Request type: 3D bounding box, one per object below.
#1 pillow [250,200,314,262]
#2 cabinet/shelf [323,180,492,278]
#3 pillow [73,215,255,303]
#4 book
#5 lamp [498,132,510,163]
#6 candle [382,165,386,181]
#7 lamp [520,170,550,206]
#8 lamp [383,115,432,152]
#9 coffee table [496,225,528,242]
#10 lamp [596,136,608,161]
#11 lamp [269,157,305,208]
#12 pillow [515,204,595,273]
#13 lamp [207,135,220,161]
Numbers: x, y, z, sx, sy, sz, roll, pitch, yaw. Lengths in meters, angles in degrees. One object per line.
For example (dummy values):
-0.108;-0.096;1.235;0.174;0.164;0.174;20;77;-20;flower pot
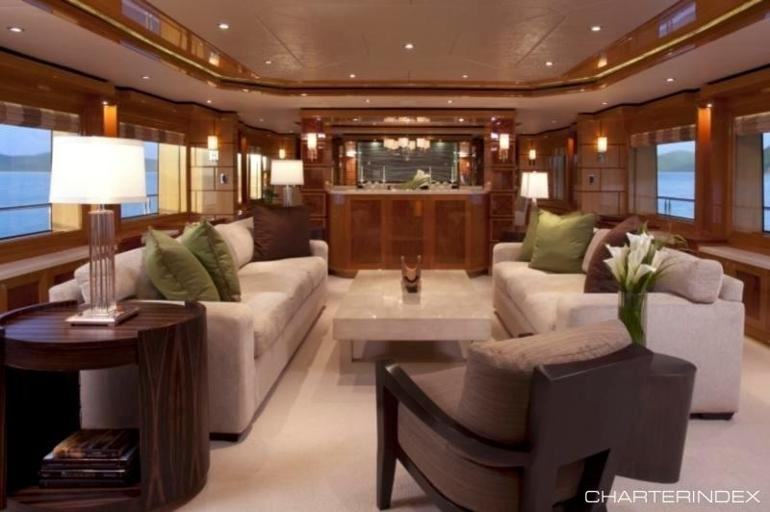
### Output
-1.226;-0.269;6.602;0.281;0.686;0.746;-7;2;44;pillow
0.335;-0.431;9.203;2.507;1.260;1.367;0;1;0;cabinet/shelf
-1.481;0.038;4.051;0.207;0.667;0.691;-31;-9;19;pillow
-1.675;1.167;3.074;0.343;0.118;0.333;2;-3;-13;book
1.988;-1.816;9.035;0.196;0.448;0.086;0;7;9;lamp
-0.023;-1.828;12.098;0.070;0.331;0.047;-2;7;-7;candle
2.154;-0.902;7.503;0.507;0.492;0.494;-6;9;-27;lamp
0.480;-2.615;11.715;0.552;0.584;0.540;0;1;-6;lamp
1.963;-0.330;8.321;0.332;0.192;0.324;-4;6;-37;coffee table
4.006;-1.976;9.973;0.220;0.434;0.084;-4;8;-22;lamp
-1.481;-1.049;8.044;0.593;0.689;0.578;0;9;-26;lamp
1.806;-0.175;5.823;0.477;0.643;0.780;-5;9;-31;pillow
-3.163;-1.960;9.926;0.237;0.473;0.136;0;7;6;lamp
